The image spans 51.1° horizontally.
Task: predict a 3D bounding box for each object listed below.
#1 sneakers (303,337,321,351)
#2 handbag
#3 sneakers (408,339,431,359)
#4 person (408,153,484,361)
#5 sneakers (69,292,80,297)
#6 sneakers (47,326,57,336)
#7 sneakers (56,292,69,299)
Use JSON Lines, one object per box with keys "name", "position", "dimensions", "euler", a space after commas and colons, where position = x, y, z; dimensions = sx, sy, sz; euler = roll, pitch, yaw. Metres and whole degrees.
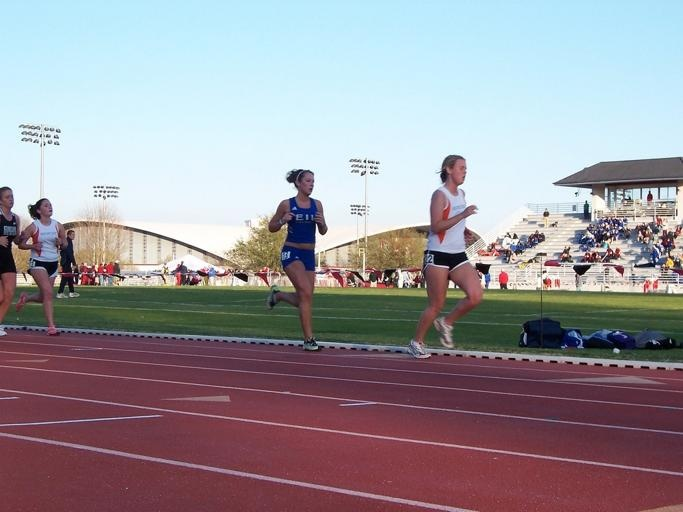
{"name": "sneakers", "position": [-0.382, 1.109, 8.995], "dimensions": [0.233, 0.139, 0.106], "euler": [1, 1, 19]}
{"name": "handbag", "position": [3.319, 1.036, 9.359], "dimensions": [1.900, 0.373, 0.703], "euler": [1, 4, 9]}
{"name": "sneakers", "position": [0.885, 1.097, 8.414], "dimensions": [0.129, 0.139, 0.307], "euler": [19, -3, -40]}
{"name": "person", "position": [1.227, 0.009, 8.340], "dimensions": [0.811, 2.366, 0.681], "euler": [1, 3, -3]}
{"name": "sneakers", "position": [-8.203, 1.191, 21.983], "dimensions": [0.446, 0.189, 0.180], "euler": [-5, -4, 37]}
{"name": "sneakers", "position": [-4.150, 1.079, 10.279], "dimensions": [0.091, 0.088, 0.223], "euler": [-5, -4, -29]}
{"name": "sneakers", "position": [-8.450, 1.195, 21.668], "dimensions": [0.376, 0.154, 0.138], "euler": [1, 3, 5]}
